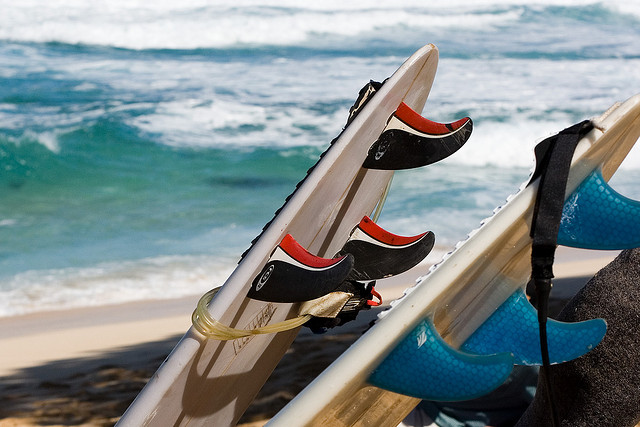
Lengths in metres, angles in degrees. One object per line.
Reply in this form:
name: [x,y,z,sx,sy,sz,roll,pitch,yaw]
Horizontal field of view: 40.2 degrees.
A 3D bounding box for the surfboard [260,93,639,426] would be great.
surfboard: [1.219,0.886,7.181,4.274,1.568,0.610,-36,27,-18]
